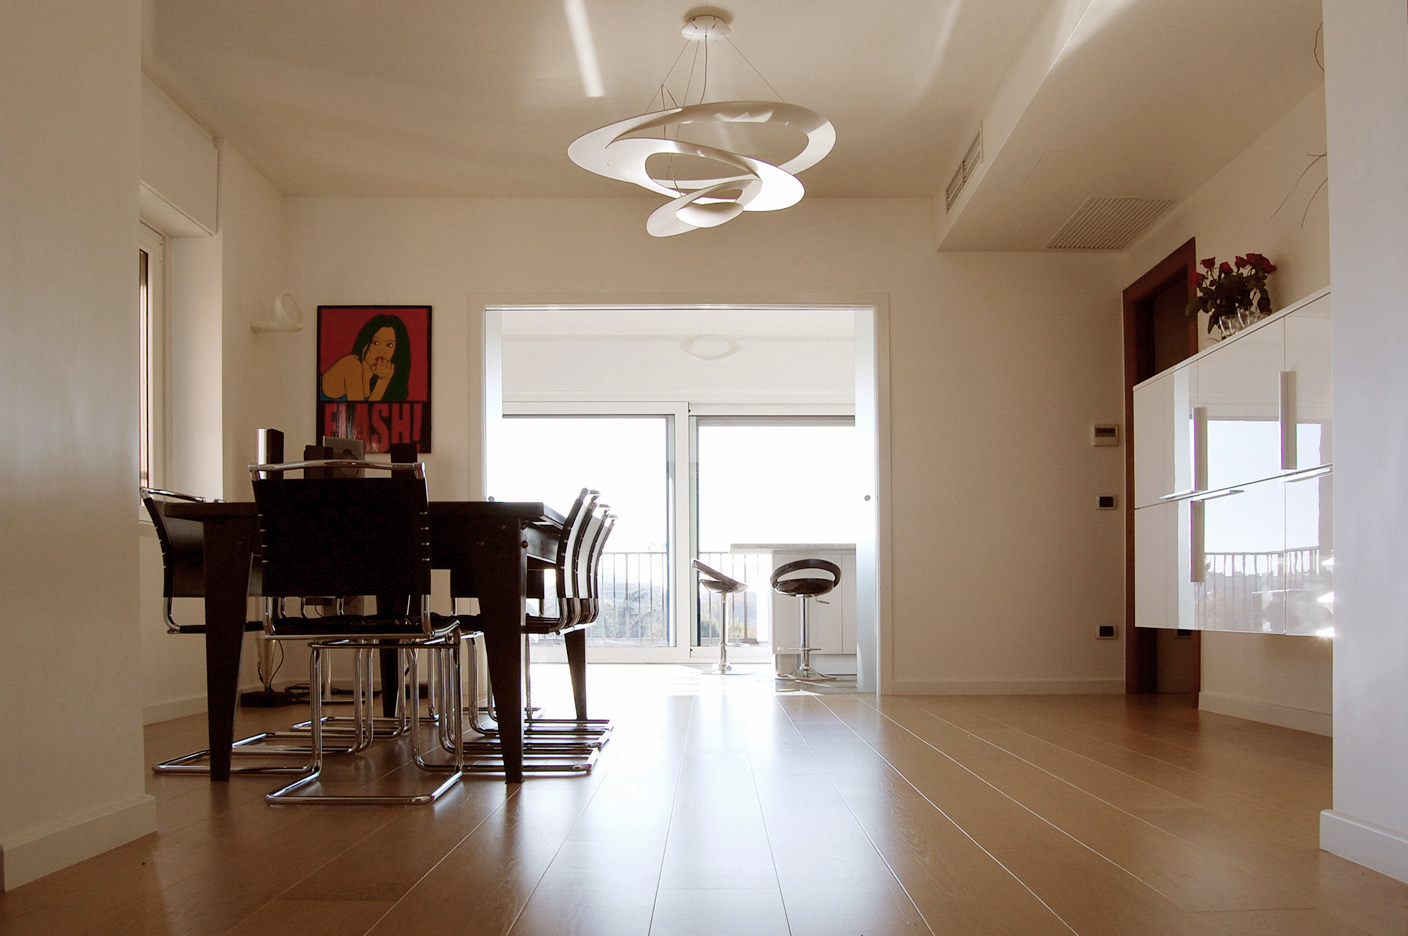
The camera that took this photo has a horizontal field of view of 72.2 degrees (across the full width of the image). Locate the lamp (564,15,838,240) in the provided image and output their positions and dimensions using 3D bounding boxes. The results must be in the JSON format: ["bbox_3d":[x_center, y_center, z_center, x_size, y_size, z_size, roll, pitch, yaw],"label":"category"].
[{"bbox_3d":[0.027,-1.568,4.753,1.141,0.872,1.135,4,-5,-43],"label":"lamp"}]

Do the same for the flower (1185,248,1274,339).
[{"bbox_3d":[2.690,-0.923,5.049,0.433,0.455,0.448,1,-8,1],"label":"flower"}]

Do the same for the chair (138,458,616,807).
[{"bbox_3d":[-1.393,0.640,4.336,1.805,1.353,1.758,0,-3,-7],"label":"chair"}]

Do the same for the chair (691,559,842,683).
[{"bbox_3d":[0.559,1.259,8.141,0.906,0.995,1.959,1,-4,-24],"label":"chair"}]
